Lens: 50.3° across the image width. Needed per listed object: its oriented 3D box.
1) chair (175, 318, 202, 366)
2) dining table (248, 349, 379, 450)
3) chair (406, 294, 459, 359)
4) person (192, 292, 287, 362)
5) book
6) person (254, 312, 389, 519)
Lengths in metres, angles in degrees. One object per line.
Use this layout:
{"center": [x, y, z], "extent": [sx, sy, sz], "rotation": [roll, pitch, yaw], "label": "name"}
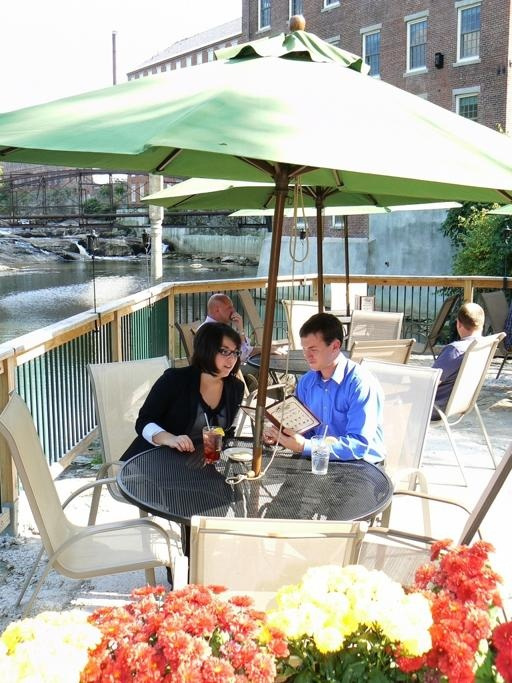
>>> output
{"center": [-0.716, -0.079, 5.720], "extent": [0.213, 0.277, 0.171], "rotation": [-22, -31, 40], "label": "chair"}
{"center": [0.317, 0.316, 2.708], "extent": [0.482, 0.477, 0.404], "rotation": [-17, 21, -38], "label": "dining table"}
{"center": [2.668, -0.161, 8.715], "extent": [1.001, 1.098, 0.872], "rotation": [-4, 15, 7], "label": "chair"}
{"center": [-0.180, -0.119, 5.428], "extent": [0.733, 0.753, 0.499], "rotation": [-2, 10, -2], "label": "person"}
{"center": [0.076, 0.357, 2.520], "extent": [0.366, 0.081, 0.362], "rotation": [-2, 24, -19], "label": "book"}
{"center": [0.347, 0.495, 2.899], "extent": [0.715, 1.237, 0.554], "rotation": [-3, 6, -2], "label": "person"}
